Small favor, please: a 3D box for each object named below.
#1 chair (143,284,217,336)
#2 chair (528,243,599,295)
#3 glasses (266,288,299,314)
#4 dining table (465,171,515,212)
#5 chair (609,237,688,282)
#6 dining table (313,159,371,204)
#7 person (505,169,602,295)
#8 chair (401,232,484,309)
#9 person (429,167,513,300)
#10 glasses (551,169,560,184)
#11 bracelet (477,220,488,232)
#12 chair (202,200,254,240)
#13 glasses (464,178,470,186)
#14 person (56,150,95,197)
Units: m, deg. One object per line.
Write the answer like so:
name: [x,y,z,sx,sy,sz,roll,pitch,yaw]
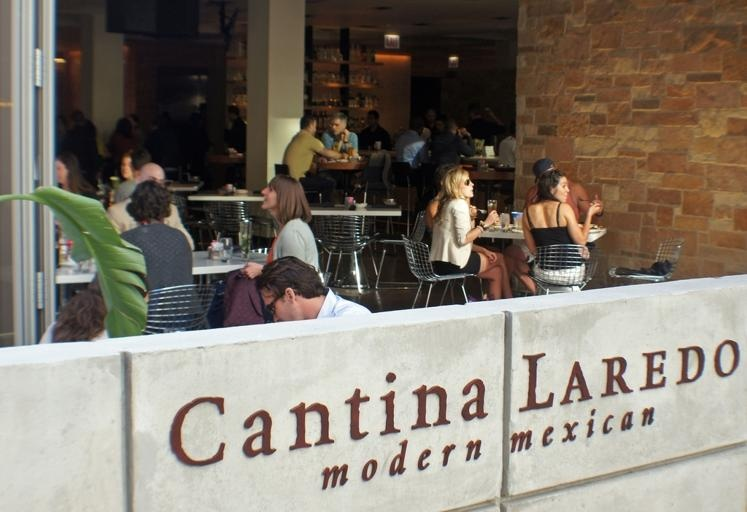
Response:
chair: [-1.201,0.337,7.689,0.317,0.226,0.399,-2,-7,19]
chair: [1.504,0.114,9.745,0.460,0.573,0.431,-1,12,-1]
glasses: [-0.483,0.231,6.482,0.122,0.039,0.131,-13,30,47]
dining table: [1.377,-0.778,14.055,0.480,0.473,0.492,0,9,6]
chair: [2.277,0.069,10.012,0.543,0.375,0.550,4,2,-1]
dining table: [-0.392,-0.844,14.465,0.628,0.483,0.664,9,16,33]
person: [1.535,-0.192,10.040,0.799,1.230,0.671,9,27,23]
chair: [0.569,0.118,10.487,0.661,0.932,0.615,-3,5,-16]
person: [0.807,-0.175,9.953,0.644,1.090,0.443,1,12,-1]
glasses: [1.460,-0.641,9.706,0.071,0.085,0.098,0,-5,-3]
bracelet: [0.903,-0.237,10.019,0.101,0.042,0.115,13,8,8]
chair: [-1.492,-0.412,12.582,0.533,0.411,0.507,0,0,32]
glasses: [0.782,-0.615,9.969,0.035,0.062,0.059,0,-5,3]
person: [-2.281,-0.590,9.309,0.258,0.367,0.904,-2,13,-13]
